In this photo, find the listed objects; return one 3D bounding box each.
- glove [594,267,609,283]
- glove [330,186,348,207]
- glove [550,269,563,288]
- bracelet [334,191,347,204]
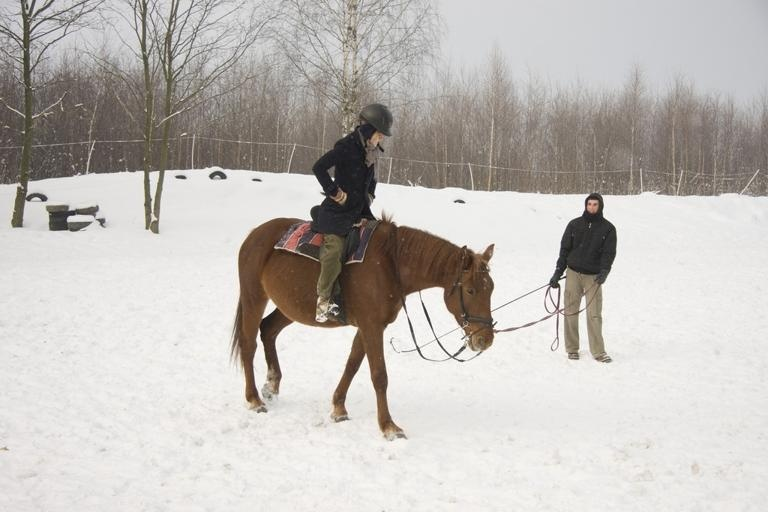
[{"bbox_3d":[6.338,0.610,25.691,0.126,0.440,0.317,34,3,-32],"label":"glove"},{"bbox_3d":[-1.160,-1.518,23.373,0.406,0.493,0.320,-3,13,10],"label":"glove"},{"bbox_3d":[5.011,0.702,25.955,0.359,0.566,0.730,2,6,14],"label":"glove"},{"bbox_3d":[-1.149,-1.520,23.378,0.262,0.294,0.312,8,15,-1],"label":"bracelet"}]
